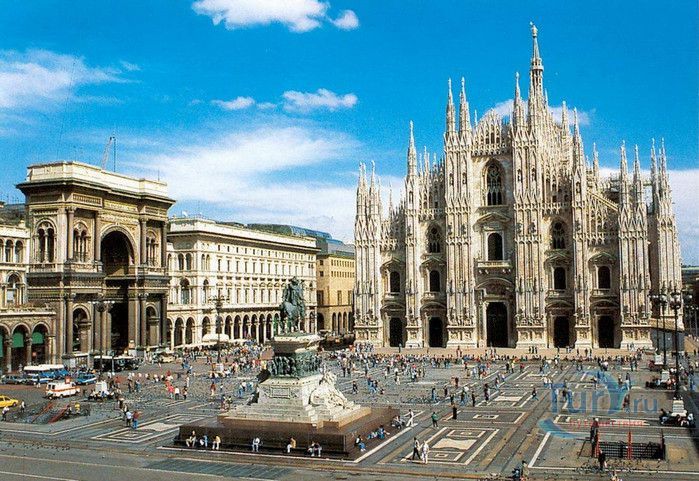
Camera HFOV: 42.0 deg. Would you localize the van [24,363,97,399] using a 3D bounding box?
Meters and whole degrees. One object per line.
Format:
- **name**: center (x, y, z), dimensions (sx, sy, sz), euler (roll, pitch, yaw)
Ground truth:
- **van**: center (-30.722, 14.863, 95.345), dimensions (6.154, 2.872, 1.662), euler (-4, -2, -26)
